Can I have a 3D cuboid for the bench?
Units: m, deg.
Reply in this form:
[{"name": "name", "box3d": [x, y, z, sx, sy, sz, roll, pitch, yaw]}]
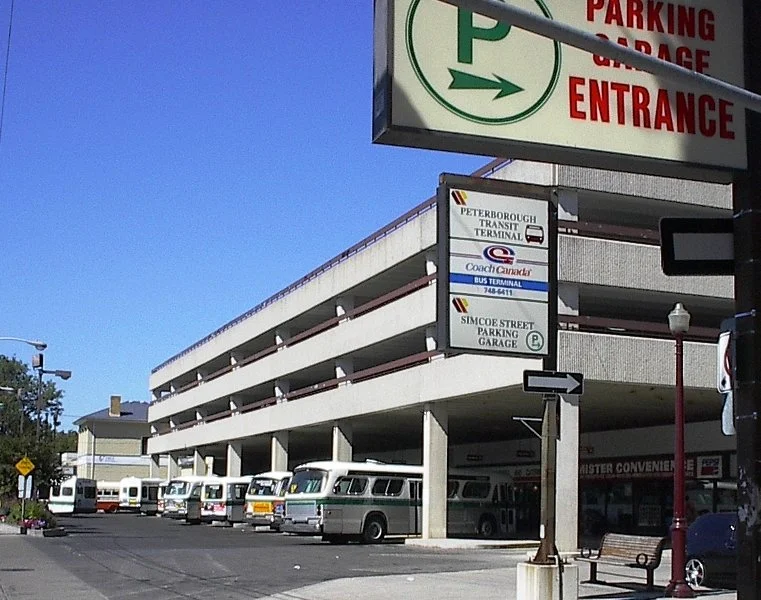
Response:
[{"name": "bench", "box3d": [4.916, 5.371, 19.697, 0.890, 1.080, 2.310, 7, -13, -15]}]
